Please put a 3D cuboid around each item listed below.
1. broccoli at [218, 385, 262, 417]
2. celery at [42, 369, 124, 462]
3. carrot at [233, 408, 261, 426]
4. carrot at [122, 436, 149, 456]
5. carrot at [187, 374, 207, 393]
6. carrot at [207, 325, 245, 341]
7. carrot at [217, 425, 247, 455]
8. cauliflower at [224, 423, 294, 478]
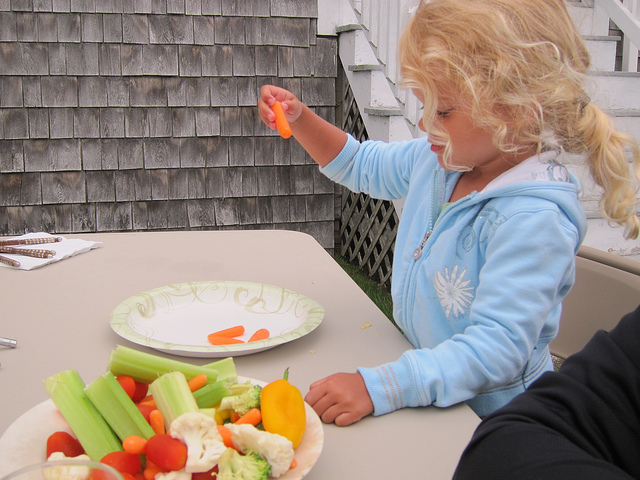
[{"bbox_3d":[-0.112,0.236,0.824,0.034,0.056,0.022,33,4,11],"label":"broccoli"},{"bbox_3d":[-0.354,0.241,0.840,0.061,0.060,0.191,-17,53,-35],"label":"celery"},{"bbox_3d":[-0.106,0.252,0.800,0.034,0.014,0.017,-22,66,-15],"label":"carrot"},{"bbox_3d":[-0.247,0.272,0.748,0.034,0.024,0.020,1,28,8],"label":"carrot"},{"bbox_3d":[-0.187,0.214,0.848,0.030,0.015,0.010,-42,21,10],"label":"carrot"},{"bbox_3d":[-0.188,0.178,1.138,0.087,0.029,0.026,-7,10,-16],"label":"carrot"},{"bbox_3d":[-0.122,0.272,0.780,0.009,0.040,0.024,-38,6,0],"label":"carrot"},{"bbox_3d":[-0.082,0.273,0.730,0.081,0.038,0.056,24,67,-1],"label":"cauliflower"}]
